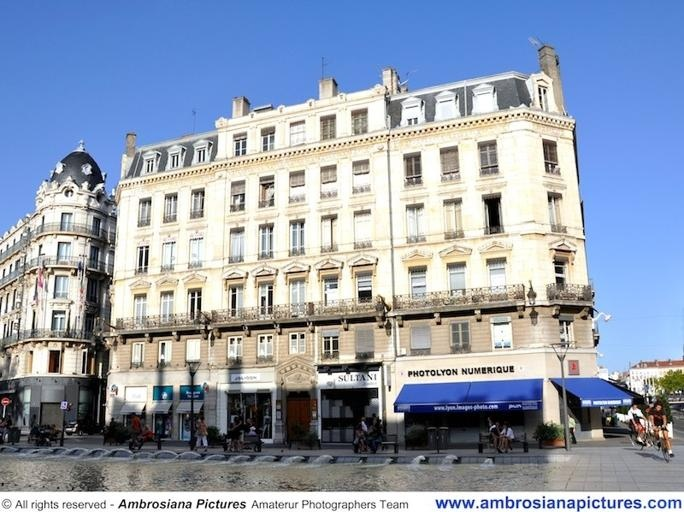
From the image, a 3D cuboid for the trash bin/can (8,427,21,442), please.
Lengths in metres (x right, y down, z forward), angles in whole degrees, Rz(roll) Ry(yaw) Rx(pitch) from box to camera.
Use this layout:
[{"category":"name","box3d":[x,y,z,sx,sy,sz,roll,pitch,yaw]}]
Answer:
[{"category":"trash bin/can","box3d":[-21.037,11.495,44.329,0.664,1.020,1.277,6,-18,-26]}]

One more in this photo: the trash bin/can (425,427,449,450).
[{"category":"trash bin/can","box3d":[5.238,9.912,37.486,0.997,1.177,1.815,-7,-16,14]}]

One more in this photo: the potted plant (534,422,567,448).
[{"category":"potted plant","box3d":[11.525,9.925,38.152,1.479,1.335,1.241,-2,-34,6]}]

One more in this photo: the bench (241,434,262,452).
[{"category":"bench","box3d":[-4.882,10.212,37.453,0.835,0.931,0.964,1,5,-2]}]

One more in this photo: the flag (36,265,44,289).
[{"category":"flag","box3d":[-27.887,1.860,64.179,0.639,2.082,1.437,4,-18,-22]}]

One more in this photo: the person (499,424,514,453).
[{"category":"person","box3d":[8.451,9.350,35.327,0.652,1.256,1.444,-7,-17,16]}]

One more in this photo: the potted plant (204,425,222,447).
[{"category":"potted plant","box3d":[-7.367,10.793,41.410,1.093,1.201,1.066,10,-18,-36]}]
